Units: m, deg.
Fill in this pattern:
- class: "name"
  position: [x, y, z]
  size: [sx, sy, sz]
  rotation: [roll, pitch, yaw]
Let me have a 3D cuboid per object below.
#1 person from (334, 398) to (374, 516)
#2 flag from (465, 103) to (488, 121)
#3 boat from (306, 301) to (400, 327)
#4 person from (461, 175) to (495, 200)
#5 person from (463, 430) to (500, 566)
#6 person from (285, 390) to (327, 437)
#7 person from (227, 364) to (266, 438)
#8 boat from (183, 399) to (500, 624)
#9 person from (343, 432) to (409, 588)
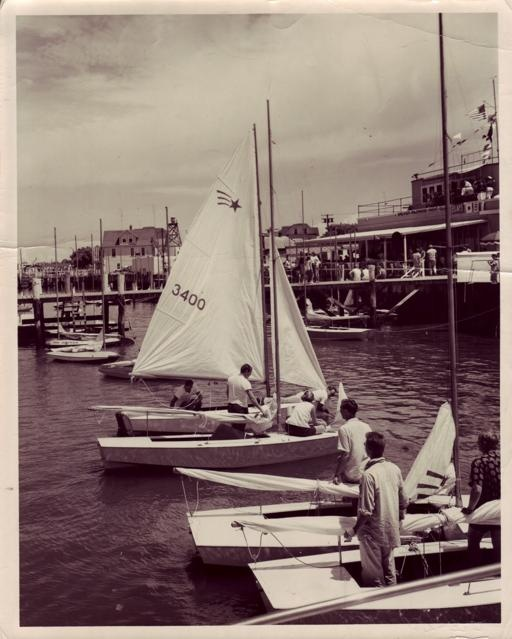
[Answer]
- class: "person"
  position: [1.238, 1.938, 11.949]
  size: [0.603, 1.779, 0.526]
  rotation: [-8, 18, -21]
- class: "flag"
  position: [4.029, -3.864, 16.265]
  size: [0.463, 0.531, 0.064]
  rotation: [0, 9, 1]
- class: "boat"
  position: [5.226, -0.278, 46.926]
  size: [3.614, 1.112, 1.253]
  rotation: [1, 7, -4]
- class: "person"
  position: [10.730, -6.376, 42.943]
  size: [0.814, 0.888, 1.551]
  rotation: [-1, 3, -22]
- class: "person"
  position: [2.752, 2.183, 10.822]
  size: [0.431, 1.718, 0.478]
  rotation: [0, 7, 16]
- class: "person"
  position: [0.819, 1.683, 16.072]
  size: [0.682, 0.859, 0.824]
  rotation: [12, 18, 32]
- class: "person"
  position: [-0.212, 1.554, 16.769]
  size: [0.864, 1.739, 0.515]
  rotation: [12, 18, 39]
- class: "boat"
  position: [1.077, 2.916, 10.893]
  size: [3.218, 1.565, 2.429]
  rotation: [0, 2, -7]
- class: "person"
  position: [1.401, 2.209, 10.197]
  size: [0.631, 1.841, 0.464]
  rotation: [-2, 7, 6]
